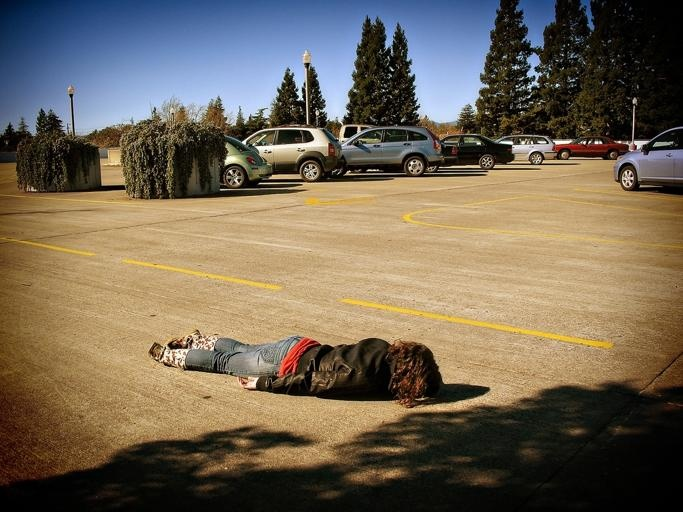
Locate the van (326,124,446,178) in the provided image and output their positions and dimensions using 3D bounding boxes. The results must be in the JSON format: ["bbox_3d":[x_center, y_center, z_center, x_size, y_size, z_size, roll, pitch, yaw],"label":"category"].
[{"bbox_3d":[2.294,-5.210,24.022,5.076,1.806,2.268,3,9,3],"label":"van"}]

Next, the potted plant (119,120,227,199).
[{"bbox_3d":[-5.482,-3.262,16.485,2.884,2.434,1.352,-12,18,-37],"label":"potted plant"}]

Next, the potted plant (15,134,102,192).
[{"bbox_3d":[-11.379,-3.702,20.322,3.010,2.055,3.066,5,10,29],"label":"potted plant"}]

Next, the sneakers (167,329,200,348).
[{"bbox_3d":[-1.397,0.773,4.441,0.256,0.080,0.152,-16,30,-31],"label":"sneakers"}]

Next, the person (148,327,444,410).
[{"bbox_3d":[-0.412,0.633,3.985,2.185,0.477,0.790,2,8,22],"label":"person"}]
